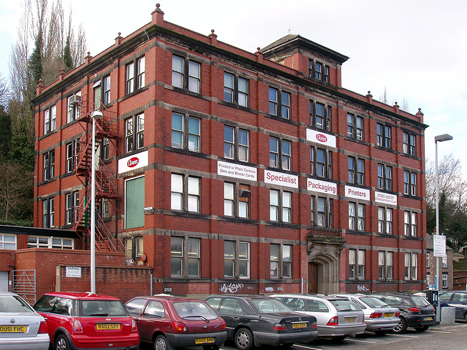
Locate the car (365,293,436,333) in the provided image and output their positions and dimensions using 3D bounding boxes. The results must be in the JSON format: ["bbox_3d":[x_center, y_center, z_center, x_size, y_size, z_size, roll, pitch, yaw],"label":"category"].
[{"bbox_3d":[10.085,8.472,46.987,3.835,2.494,3.095,5,-12,-42],"label":"car"}]
